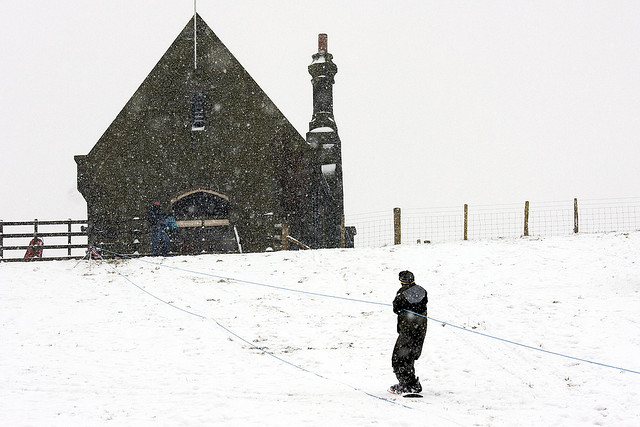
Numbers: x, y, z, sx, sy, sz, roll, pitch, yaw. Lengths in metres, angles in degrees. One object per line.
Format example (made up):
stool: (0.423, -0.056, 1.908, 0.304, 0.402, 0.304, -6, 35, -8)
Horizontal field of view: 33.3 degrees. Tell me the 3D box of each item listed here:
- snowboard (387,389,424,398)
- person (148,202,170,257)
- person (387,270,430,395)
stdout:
snowboard: (2.270, 4.739, 28.148, 0.971, 0.141, 0.267, 13, 0, 2)
person: (-5.843, 0.584, 38.852, 0.346, 1.968, 0.648, 8, 13, 41)
person: (2.315, 3.155, 28.376, 0.910, 3.106, 1.151, 2, 10, 15)
